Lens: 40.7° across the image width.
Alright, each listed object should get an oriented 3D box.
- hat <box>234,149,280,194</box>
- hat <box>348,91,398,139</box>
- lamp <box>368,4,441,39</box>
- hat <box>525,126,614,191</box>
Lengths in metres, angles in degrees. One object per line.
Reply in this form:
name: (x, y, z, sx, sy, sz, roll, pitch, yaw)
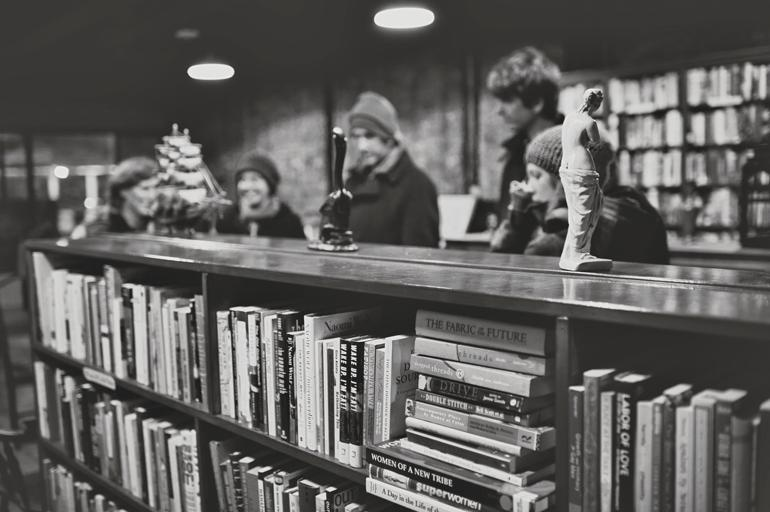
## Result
hat: (-0.603, -0.422, 4.963, 0.160, 0.130, 0.215, -4, -42, 12)
hat: (-0.028, -0.616, 4.721, 0.166, 0.209, 0.229, 13, -12, 9)
lamp: (0.090, -1.050, 4.605, 0.304, 0.119, 0.072, 11, 18, 41)
hat: (0.744, -0.424, 4.357, 0.305, 0.266, 0.233, -14, 9, -10)
